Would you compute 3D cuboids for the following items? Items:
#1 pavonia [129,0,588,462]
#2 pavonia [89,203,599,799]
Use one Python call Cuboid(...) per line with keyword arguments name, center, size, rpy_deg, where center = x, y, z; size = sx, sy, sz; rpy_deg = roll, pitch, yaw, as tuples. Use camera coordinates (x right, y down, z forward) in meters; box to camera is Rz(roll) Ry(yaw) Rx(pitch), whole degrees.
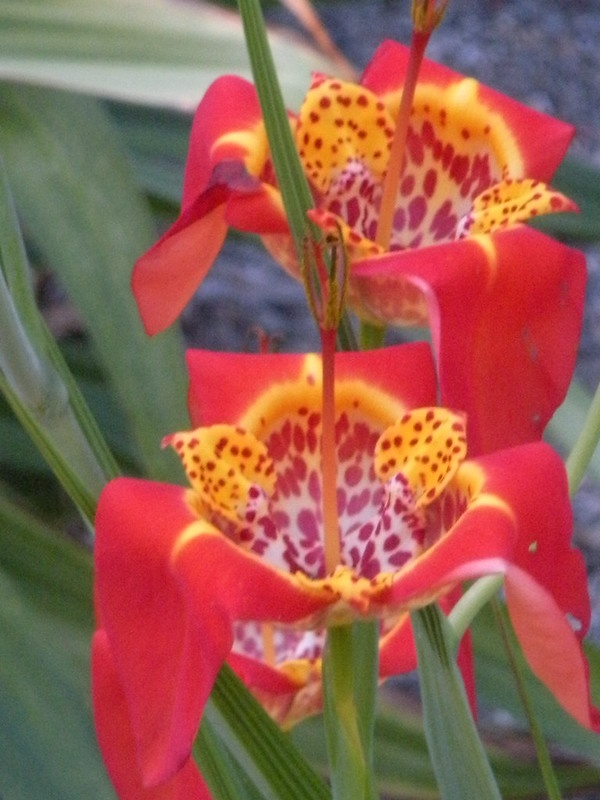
Cuboid(name="pavonia", center=(0.027, -0.042, 0.289), size=(0.126, 0.063, 0.139), rpy_deg=(31, 57, 3))
Cuboid(name="pavonia", center=(0.006, -0.015, 0.198), size=(0.097, 0.057, 0.140), rpy_deg=(-5, 31, 7))
